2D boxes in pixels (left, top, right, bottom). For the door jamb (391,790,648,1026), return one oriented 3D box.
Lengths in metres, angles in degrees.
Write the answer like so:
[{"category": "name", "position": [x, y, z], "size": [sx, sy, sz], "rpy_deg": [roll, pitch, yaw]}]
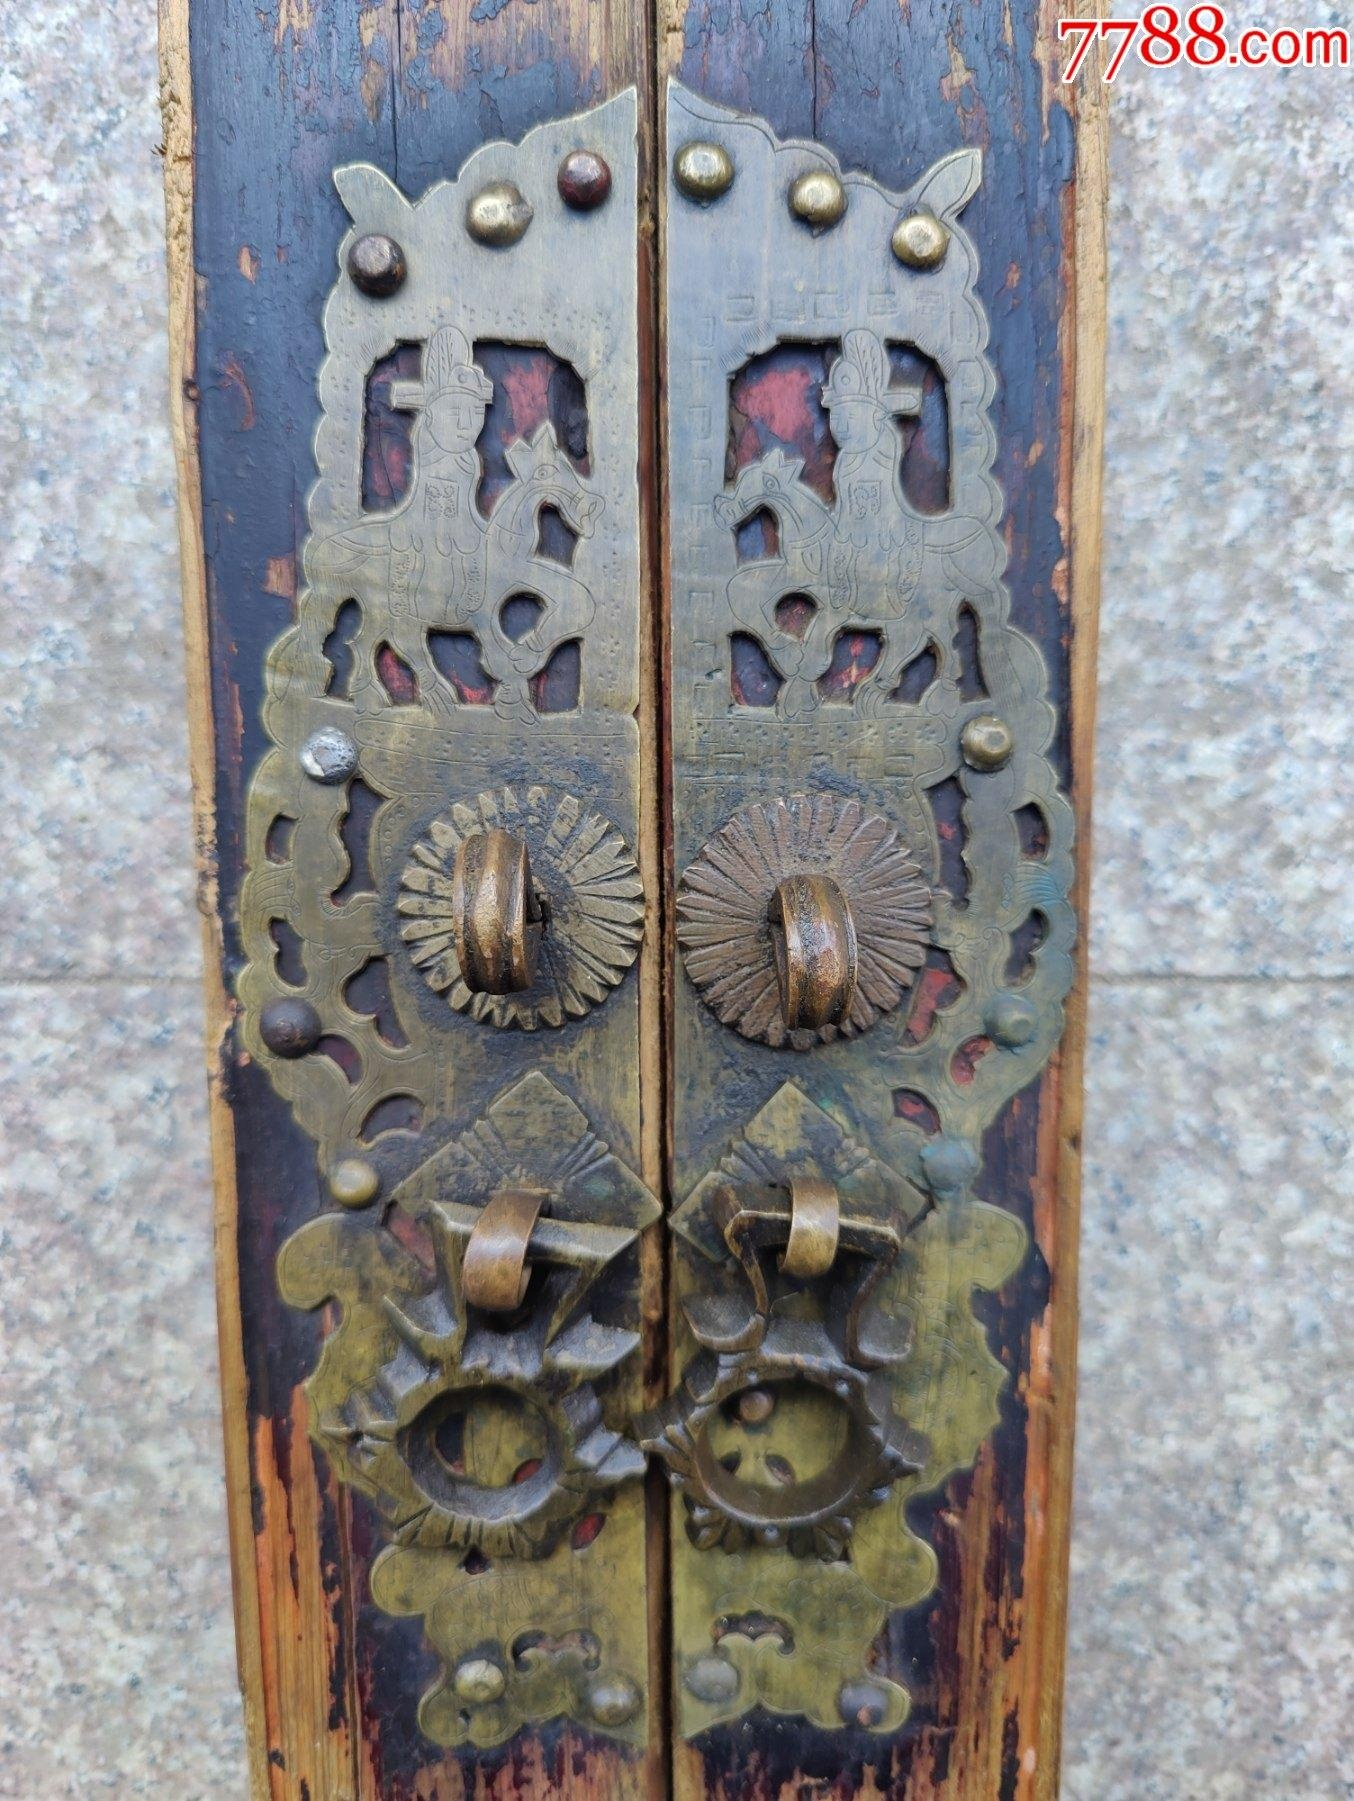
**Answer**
[{"category": "door jamb", "position": [-0.094, -0.002, 2.443], "size": [0.096, 0.013, 0.128], "rpy_deg": [4, 89, -14]}]
